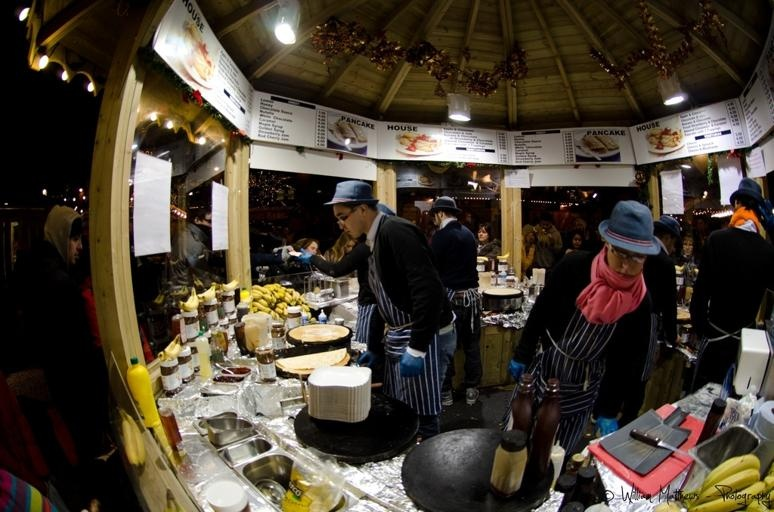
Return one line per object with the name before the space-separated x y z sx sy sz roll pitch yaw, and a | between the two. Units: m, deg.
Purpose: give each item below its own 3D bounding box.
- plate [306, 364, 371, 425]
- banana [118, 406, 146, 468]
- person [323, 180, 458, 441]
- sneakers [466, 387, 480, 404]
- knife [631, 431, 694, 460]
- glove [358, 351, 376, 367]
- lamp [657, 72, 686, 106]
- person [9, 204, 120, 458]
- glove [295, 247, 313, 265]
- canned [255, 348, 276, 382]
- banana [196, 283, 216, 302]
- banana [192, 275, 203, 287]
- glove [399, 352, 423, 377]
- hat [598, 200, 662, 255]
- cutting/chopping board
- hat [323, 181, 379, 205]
plate | -0.304 0.840 2.964 0.323 0.214 0.356 1 5 10
banana | -1.381 0.970 2.517 0.106 0.082 0.337 23 22 -53
person | 0.096 0.418 3.553 0.816 1.965 0.707 -2 -1 33
sneakers | 0.953 1.547 5.199 0.085 0.149 0.239 -2 8 11
knife | 1.600 1.111 2.733 0.061 0.046 0.368 -20 24 -25
glove | -0.158 0.838 3.791 0.114 0.094 0.166 8 41 8
lamp | 2.915 -1.724 4.823 0.212 0.310 0.488 -2 -1 31
person | -1.798 0.422 2.718 0.374 1.429 0.611 -1 -1 -19
glove | -0.860 0.003 4.949 0.185 0.081 0.150 1 -29 45
canned | -0.885 0.803 3.445 0.142 0.238 0.145 -5 1 13
banana | -1.469 0.297 3.876 0.106 0.080 0.186 -2 10 17
banana | -1.665 0.223 4.144 0.083 0.020 0.077 37 -8 -41
glove | 0.174 0.784 3.377 0.172 0.216 0.189 -1 -1 8
hat | 1.656 -0.206 3.248 0.304 0.231 0.420 3 10 1
cutting/chopping board | 1.564 1.043 2.701 1.017 0.559 0.162 31 3 -26
hat | -0.239 -0.461 3.540 0.245 0.089 0.212 3 -4 -41
